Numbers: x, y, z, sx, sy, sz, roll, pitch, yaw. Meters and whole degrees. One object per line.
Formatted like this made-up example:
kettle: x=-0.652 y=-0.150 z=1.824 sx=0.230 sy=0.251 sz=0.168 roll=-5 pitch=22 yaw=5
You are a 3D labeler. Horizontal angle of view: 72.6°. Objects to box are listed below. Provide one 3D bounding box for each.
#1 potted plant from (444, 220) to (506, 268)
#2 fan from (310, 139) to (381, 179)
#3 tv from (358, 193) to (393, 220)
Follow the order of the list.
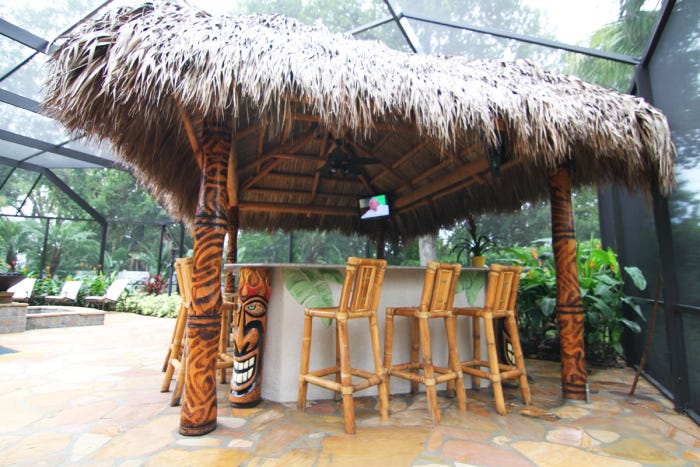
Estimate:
potted plant: x=2.891 y=0.239 z=10.837 sx=1.149 sy=0.847 sz=1.179 roll=-2 pitch=-11 yaw=14
fan: x=-0.047 y=-1.219 z=8.100 sx=0.689 sy=0.310 sz=0.699 roll=2 pitch=-10 yaw=-7
tv: x=0.489 y=-0.506 z=8.793 sx=0.465 sy=0.351 sz=0.049 roll=-10 pitch=-18 yaw=27
